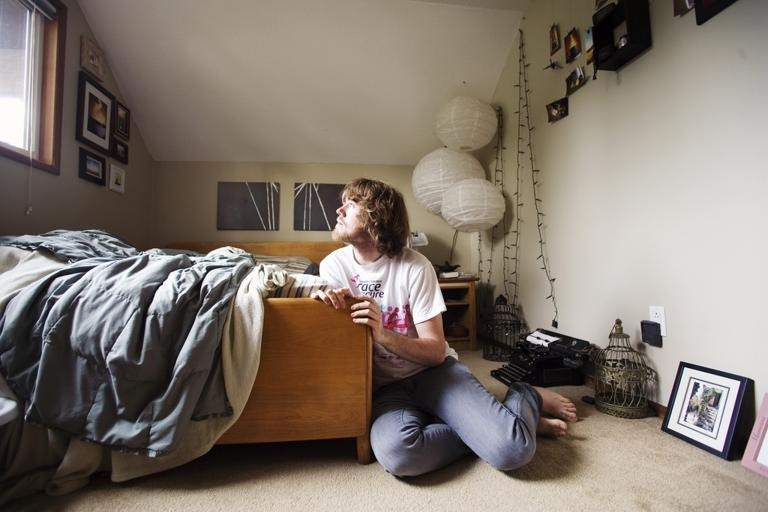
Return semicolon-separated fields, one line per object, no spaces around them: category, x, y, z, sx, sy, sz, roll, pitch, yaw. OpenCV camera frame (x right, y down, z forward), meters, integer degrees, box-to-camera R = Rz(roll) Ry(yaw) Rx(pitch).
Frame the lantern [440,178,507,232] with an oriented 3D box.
lantern;0.723;-0.383;4.096;0.411;0.356;0.429;0;1;-2

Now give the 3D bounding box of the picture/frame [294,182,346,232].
picture/frame;-0.608;-0.426;4.633;0.529;0.516;0.057;0;-5;-5

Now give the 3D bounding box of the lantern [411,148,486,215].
lantern;0.578;-0.750;4.494;0.511;0.584;0.591;12;20;19

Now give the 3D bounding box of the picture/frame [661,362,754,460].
picture/frame;1.750;0.843;2.760;0.070;0.399;0.434;19;-12;-23

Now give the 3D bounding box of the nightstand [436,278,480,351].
nightstand;0.583;0.517;4.688;0.490;0.626;0.477;-3;-3;8

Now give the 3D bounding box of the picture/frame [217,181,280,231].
picture/frame;-1.310;-0.456;4.849;0.417;0.395;0.064;0;-4;-3
